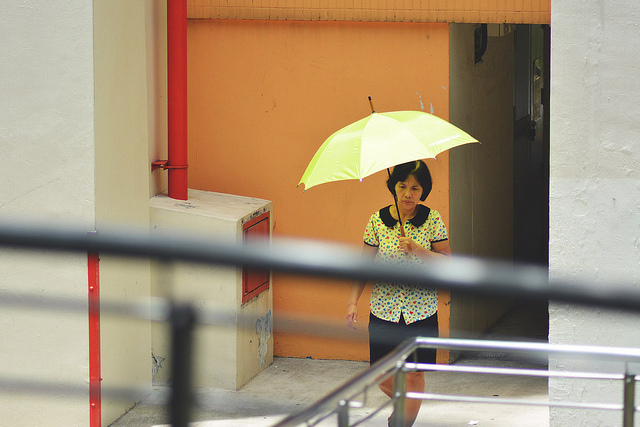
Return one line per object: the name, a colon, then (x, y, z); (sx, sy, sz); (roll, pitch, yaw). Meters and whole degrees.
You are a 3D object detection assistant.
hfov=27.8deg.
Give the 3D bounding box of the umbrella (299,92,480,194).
umbrella: (0.413, -0.464, 8.953); (0.795, 0.792, 0.367); (-14, -84, 26)
